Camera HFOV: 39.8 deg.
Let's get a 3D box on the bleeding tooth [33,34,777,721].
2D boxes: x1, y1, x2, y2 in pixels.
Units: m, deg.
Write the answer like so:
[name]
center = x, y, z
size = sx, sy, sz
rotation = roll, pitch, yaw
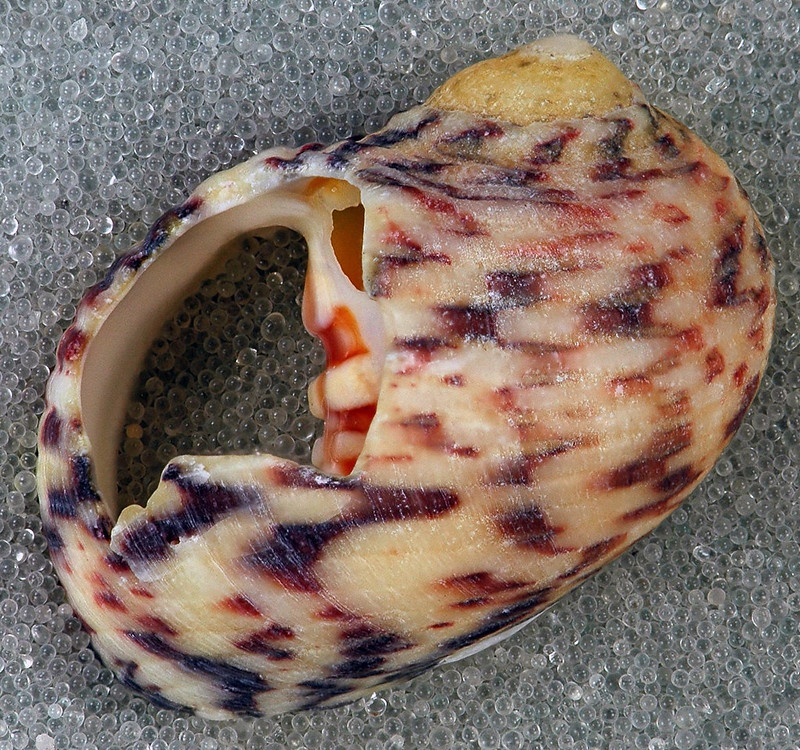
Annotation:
[bleeding tooth]
center = 0.053, -0.029, 1.447
size = 1.189, 0.740, 0.736
rotation = -2, 47, 5
